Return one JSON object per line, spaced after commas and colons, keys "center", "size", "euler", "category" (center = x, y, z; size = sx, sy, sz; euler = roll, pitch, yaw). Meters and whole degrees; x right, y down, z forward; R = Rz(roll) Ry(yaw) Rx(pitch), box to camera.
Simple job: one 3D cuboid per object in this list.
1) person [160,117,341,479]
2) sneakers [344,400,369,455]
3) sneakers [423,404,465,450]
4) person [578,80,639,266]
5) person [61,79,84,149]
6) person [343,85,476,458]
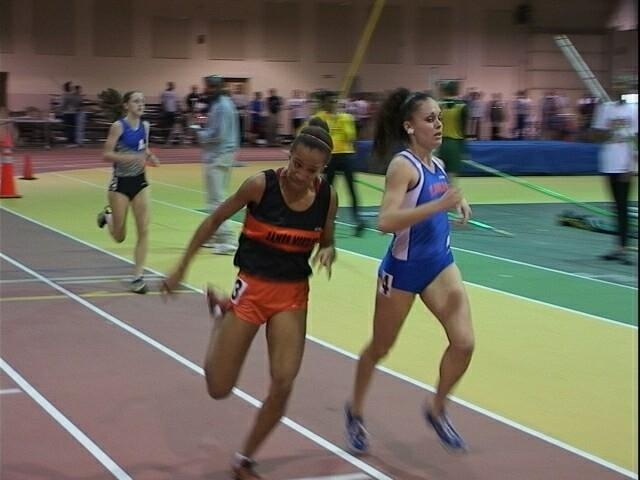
{"center": [-0.321, 0.298, 2.709], "size": [0.789, 1.704, 0.604], "euler": [1, 11, 1], "category": "person"}
{"center": [0.184, 1.065, 2.991], "size": [0.132, 0.215, 0.086], "euler": [-11, -13, -26], "category": "sneakers"}
{"center": [0.650, 1.002, 2.851], "size": [0.208, 0.131, 0.060], "euler": [59, 10, 31], "category": "sneakers"}
{"center": [4.398, -1.053, 8.041], "size": [0.707, 2.563, 1.437], "euler": [7, 13, 27], "category": "person"}
{"center": [-11.198, -5.704, 24.312], "size": [0.840, 2.747, 0.856], "euler": [-7, 14, -34], "category": "person"}
{"center": [0.529, 0.153, 2.997], "size": [0.684, 1.994, 0.813], "euler": [4, 12, 16], "category": "person"}
